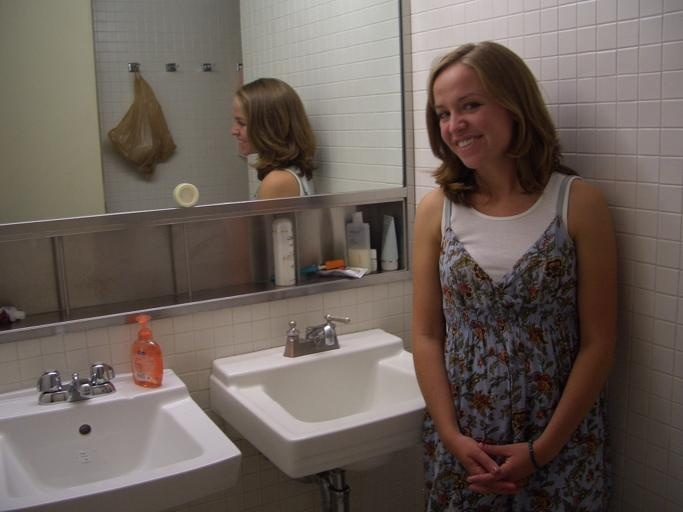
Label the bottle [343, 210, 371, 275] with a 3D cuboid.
[{"bbox_3d":[0.064,-0.052,2.048,0.093,0.225,0.058,-4,16,-20],"label":"bottle"}]

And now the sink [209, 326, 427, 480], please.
[{"bbox_3d":[-0.083,0.372,1.867,0.817,0.389,0.700,-6,7,-31],"label":"sink"}]

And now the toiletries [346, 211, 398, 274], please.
[{"bbox_3d":[0.117,-0.041,2.064,0.157,0.255,0.111,-4,16,-23],"label":"toiletries"}]

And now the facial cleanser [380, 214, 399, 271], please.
[{"bbox_3d":[0.193,-0.068,2.099,0.056,0.182,0.063,-1,18,-5],"label":"facial cleanser"}]

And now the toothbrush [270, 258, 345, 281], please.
[{"bbox_3d":[-0.135,0.052,1.950,0.164,0.032,0.032,-16,-20,-22],"label":"toothbrush"}]

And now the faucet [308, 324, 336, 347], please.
[{"bbox_3d":[-0.066,0.269,1.847,0.101,0.085,0.054,-3,3,-15],"label":"faucet"}]

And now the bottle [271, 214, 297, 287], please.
[{"bbox_3d":[-0.205,-0.019,1.881,0.064,0.238,0.075,-4,19,-36],"label":"bottle"}]

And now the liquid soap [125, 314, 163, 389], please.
[{"bbox_3d":[-0.584,0.275,1.596,0.105,0.233,0.079,-2,1,-30],"label":"liquid soap"}]
